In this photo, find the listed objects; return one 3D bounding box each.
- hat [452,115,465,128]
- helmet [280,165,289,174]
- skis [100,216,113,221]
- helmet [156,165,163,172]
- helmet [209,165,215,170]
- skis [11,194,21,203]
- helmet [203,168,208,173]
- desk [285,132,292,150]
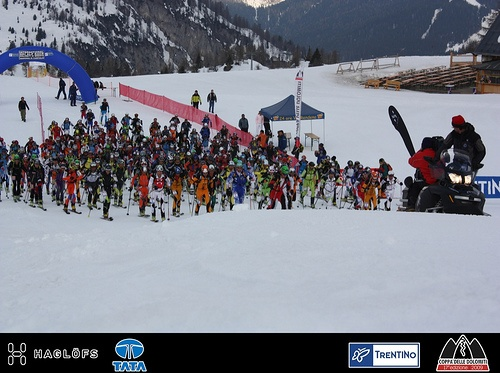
[{"bbox_3d":[6.337,-2.023,21.095,0.255,0.356,0.414,-3,7,-7],"label":"hat"},{"bbox_3d":[1.420,-0.714,27.575,0.215,0.372,0.313,0,-1,-10],"label":"helmet"},{"bbox_3d":[-5.678,1.259,27.582,0.468,0.237,0.160,9,11,13],"label":"skis"},{"bbox_3d":[-3.493,-0.766,26.872,0.204,0.245,0.581,-1,14,-2],"label":"helmet"},{"bbox_3d":[-1.464,-0.776,26.996,0.188,0.258,0.402,-2,13,-7],"label":"helmet"},{"bbox_3d":[-9.926,0.489,29.567,0.258,0.322,0.187,-2,0,35],"label":"skis"},{"bbox_3d":[-1.699,-0.652,26.977,0.120,0.145,0.132,2,4,29],"label":"helmet"},{"bbox_3d":[2.293,-2.687,40.057,0.565,1.341,0.771,0,0,-5],"label":"desk"}]
